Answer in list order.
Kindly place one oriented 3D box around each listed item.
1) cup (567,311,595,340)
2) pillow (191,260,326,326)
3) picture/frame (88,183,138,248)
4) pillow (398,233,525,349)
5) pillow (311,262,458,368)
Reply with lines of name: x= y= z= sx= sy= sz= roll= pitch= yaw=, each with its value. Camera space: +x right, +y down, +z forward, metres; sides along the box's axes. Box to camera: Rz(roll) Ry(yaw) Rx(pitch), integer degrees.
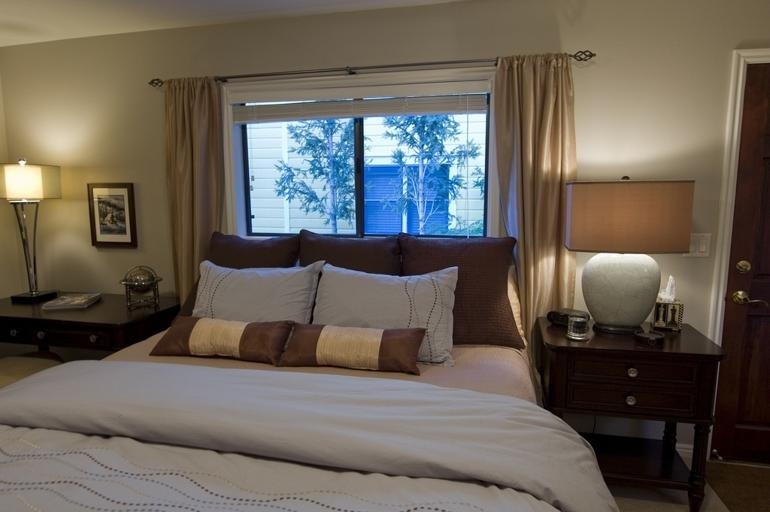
cup: x=1.281 y=0.457 z=3.846 sx=0.131 sy=0.137 sz=0.186 roll=1 pitch=4 yaw=13
pillow: x=-0.918 y=0.320 z=3.982 sx=0.846 sy=0.578 sz=0.292 roll=6 pitch=-14 yaw=7
picture/frame: x=-2.208 y=-0.350 z=4.806 sx=0.508 sy=0.660 sz=0.068 roll=2 pitch=11 yaw=8
pillow: x=0.615 y=0.227 z=3.934 sx=0.780 sy=0.727 sz=0.235 roll=1 pitch=-12 yaw=1
pillow: x=-0.009 y=0.366 z=3.858 sx=0.942 sy=0.574 sz=0.363 roll=6 pitch=11 yaw=4
